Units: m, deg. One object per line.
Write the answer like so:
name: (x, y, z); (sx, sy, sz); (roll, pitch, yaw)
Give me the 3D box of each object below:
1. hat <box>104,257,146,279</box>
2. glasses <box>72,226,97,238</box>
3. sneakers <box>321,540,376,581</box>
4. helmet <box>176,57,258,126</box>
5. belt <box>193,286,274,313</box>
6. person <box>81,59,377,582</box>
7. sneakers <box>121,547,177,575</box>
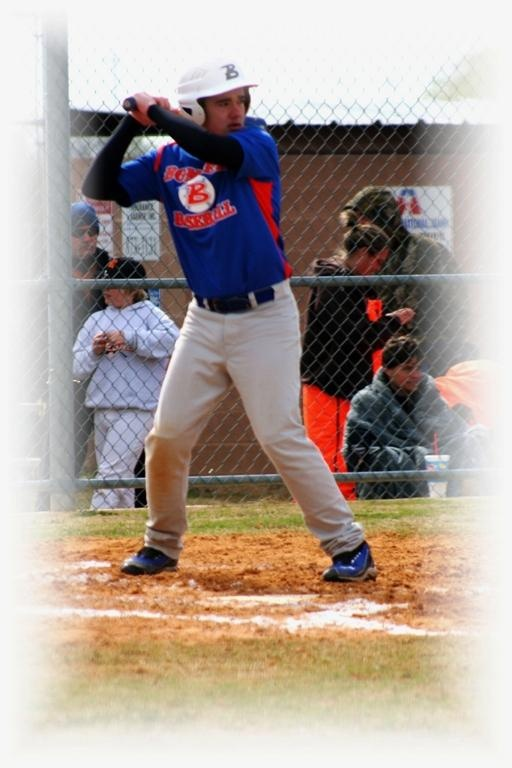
hat: (-0.658, -0.575, 4.420); (0.194, 0.080, 0.247); (0, -1, -8)
glasses: (-0.844, -0.767, 4.395); (0.089, 0.050, 0.098); (-7, -16, -1)
sneakers: (0.355, 0.670, 3.274); (0.096, 0.101, 0.255); (-6, -10, 31)
helmet: (-0.151, -0.983, 2.968); (0.281, 0.181, 0.203); (3, 32, 20)
belt: (-0.063, -0.285, 3.006); (0.241, 0.092, 0.066); (2, 4, 10)
person: (-0.116, -0.170, 3.072); (1.056, 1.801, 0.490); (2, 4, 6)
sneakers: (-0.404, 0.673, 3.344); (0.193, 0.072, 0.095); (3, -5, -11)
